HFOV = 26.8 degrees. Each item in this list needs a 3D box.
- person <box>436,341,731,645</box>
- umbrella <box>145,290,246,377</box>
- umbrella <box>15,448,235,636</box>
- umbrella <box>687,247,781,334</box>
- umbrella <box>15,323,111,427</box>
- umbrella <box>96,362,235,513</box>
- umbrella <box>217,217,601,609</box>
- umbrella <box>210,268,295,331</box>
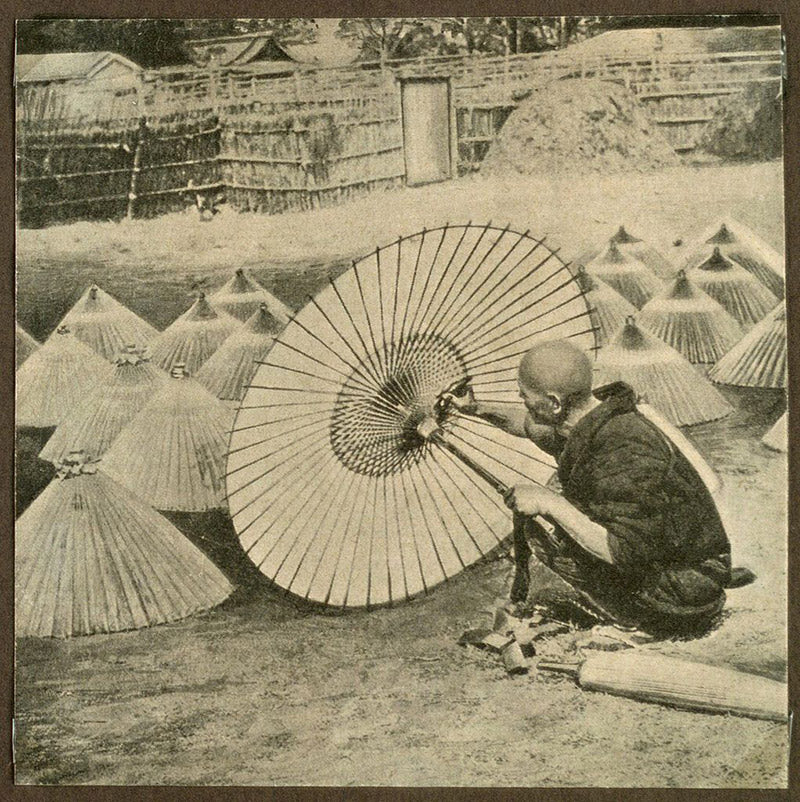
[{"bbox_3d":[0.818,0.414,7.743,1.384,1.460,0.929,8,28,30],"label":"person"},{"bbox_3d":[-0.902,-0.394,7.504,0.379,0.192,0.379,30,30,12],"label":"umbrella"},{"bbox_3d":[-1.216,0.627,7.573,0.648,0.419,0.809,-18,-4,27],"label":"umbrella"},{"bbox_3d":[1.494,-0.493,7.506,0.341,0.350,0.170,7,1,8],"label":"umbrella"},{"bbox_3d":[-1.514,-0.107,7.578,0.433,0.426,0.293,-10,-1,-2],"label":"umbrella"},{"bbox_3d":[-1.000,0.159,7.396,0.542,0.553,0.300,-8,-4,-8],"label":"umbrella"},{"bbox_3d":[0.084,0.122,7.360,1.066,1.085,0.765,38,-15,20],"label":"umbrella"},{"bbox_3d":[-0.676,-0.459,7.421,0.257,0.265,0.137,-1,32,6],"label":"umbrella"}]
